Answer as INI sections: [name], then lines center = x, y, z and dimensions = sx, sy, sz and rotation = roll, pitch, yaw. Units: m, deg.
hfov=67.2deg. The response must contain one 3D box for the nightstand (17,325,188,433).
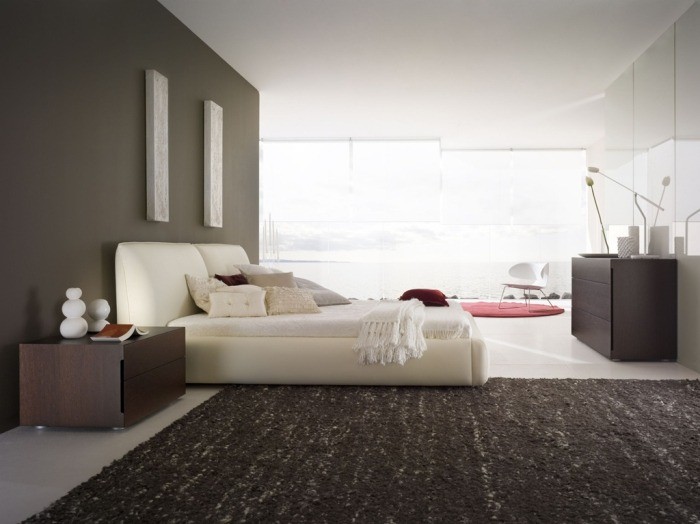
[nightstand]
center = -1.628, 0.762, 3.532
dimensions = 0.543, 0.462, 0.861
rotation = 0, -1, 6

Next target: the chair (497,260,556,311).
[chair]
center = 2.788, 0.366, 8.467
dimensions = 0.732, 0.820, 0.837
rotation = -7, -2, 2

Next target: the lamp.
[lamp]
center = 3.697, -0.818, 7.484
dimensions = 0.704, 1.069, 5.107
rotation = 4, 11, 23
